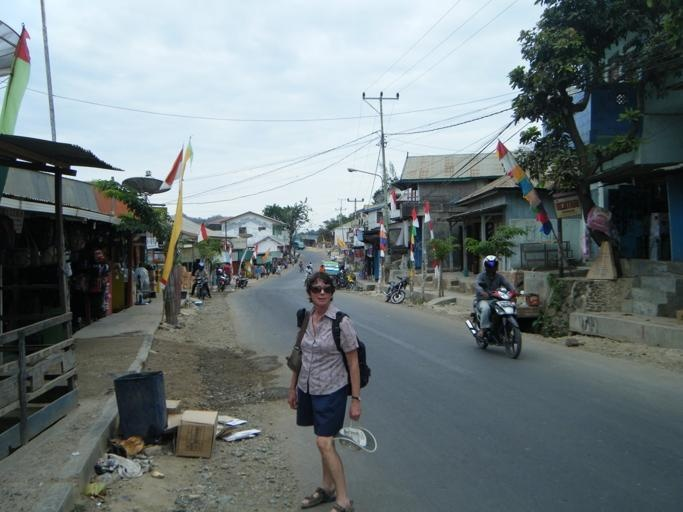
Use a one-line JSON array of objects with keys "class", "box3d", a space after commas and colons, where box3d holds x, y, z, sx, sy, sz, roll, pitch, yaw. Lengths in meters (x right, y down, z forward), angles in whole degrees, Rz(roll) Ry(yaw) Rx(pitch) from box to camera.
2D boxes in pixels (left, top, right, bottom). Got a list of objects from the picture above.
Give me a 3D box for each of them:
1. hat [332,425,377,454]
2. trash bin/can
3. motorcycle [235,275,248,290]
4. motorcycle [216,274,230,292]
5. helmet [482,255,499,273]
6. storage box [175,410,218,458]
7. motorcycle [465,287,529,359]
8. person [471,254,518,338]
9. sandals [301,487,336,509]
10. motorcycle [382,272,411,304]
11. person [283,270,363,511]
[{"class": "hat", "box3d": [0.160, 1.894, 5.774, 0.355, 0.141, 0.325, 11, 7, -4]}, {"class": "trash bin/can", "box3d": [-2.528, 1.917, 6.995, 0.602, 0.849, 0.297, -2, 0, -22]}, {"class": "motorcycle", "box3d": [-7.561, 1.908, 41.337, 0.605, 0.763, 1.167, 0, 2, 0]}, {"class": "motorcycle", "box3d": [-8.066, 1.797, 37.084, 0.886, 1.043, 0.867, 14, 8, 32]}, {"class": "helmet", "box3d": [3.091, 0.157, 11.462, 0.273, 0.352, 0.410, -3, -1, 13]}, {"class": "storage box", "box3d": [-1.790, 2.172, 6.896, 0.443, 0.492, 0.354, 5, 8, 0]}, {"class": "motorcycle", "box3d": [3.175, 1.325, 11.302, 0.574, 1.415, 1.402, -2, -1, -16]}, {"class": "person", "box3d": [3.304, 0.802, 11.494, 0.853, 1.092, 1.588, 7, -12, -4]}, {"class": "sandals", "box3d": [-0.234, 2.533, 5.882, 0.411, 0.192, 0.141, 1, 8, -20]}, {"class": "motorcycle", "box3d": [2.450, 1.638, 24.479, 0.711, 1.072, 1.644, 15, -12, -15]}, {"class": "person", "box3d": [-0.201, 1.373, 5.816, 0.788, 2.433, 0.387, -3, 0, 34]}]
